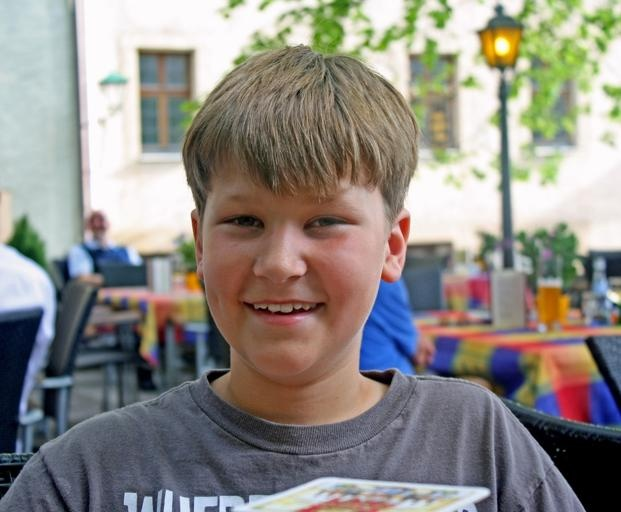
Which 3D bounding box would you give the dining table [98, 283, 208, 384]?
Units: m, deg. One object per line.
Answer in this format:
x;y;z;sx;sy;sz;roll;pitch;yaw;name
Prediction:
-0.901;0.400;5.714;0.535;0.318;0.540;-3;7;-35;dining table

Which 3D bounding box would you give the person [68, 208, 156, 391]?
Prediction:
-1.459;0.209;7.326;0.569;0.906;0.562;1;-23;-33;person
